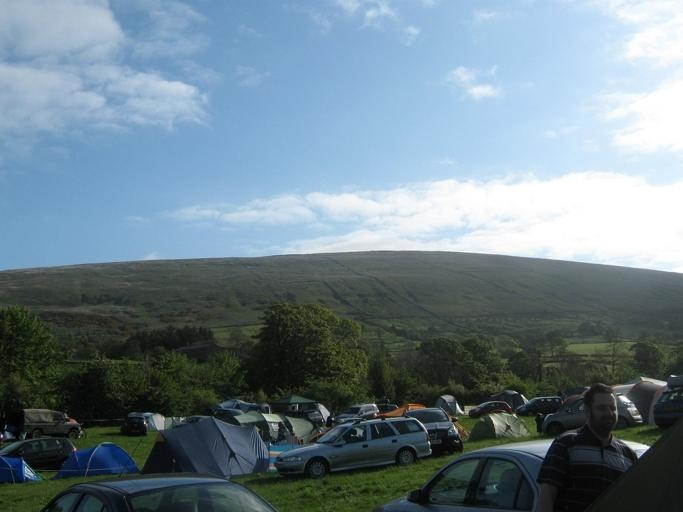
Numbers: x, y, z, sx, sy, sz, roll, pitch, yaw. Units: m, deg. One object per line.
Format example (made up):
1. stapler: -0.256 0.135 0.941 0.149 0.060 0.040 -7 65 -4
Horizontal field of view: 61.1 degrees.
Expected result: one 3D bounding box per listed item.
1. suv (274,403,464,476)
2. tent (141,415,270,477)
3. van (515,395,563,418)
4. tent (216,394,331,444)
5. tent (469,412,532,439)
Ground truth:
1. suv: 0.914 7.145 20.788 6.400 2.192 2.475 3 -10 -22
2. tent: -4.863 7.434 21.573 4.458 2.397 1.460 -7 9 -38
3. van: 16.203 12.330 47.272 3.806 1.573 2.265 -2 -9 19
4. tent: -3.875 10.009 35.529 8.636 2.501 6.419 -10 -15 42
5. tent: 7.845 8.341 28.263 2.163 0.739 1.563 1 -6 -35
